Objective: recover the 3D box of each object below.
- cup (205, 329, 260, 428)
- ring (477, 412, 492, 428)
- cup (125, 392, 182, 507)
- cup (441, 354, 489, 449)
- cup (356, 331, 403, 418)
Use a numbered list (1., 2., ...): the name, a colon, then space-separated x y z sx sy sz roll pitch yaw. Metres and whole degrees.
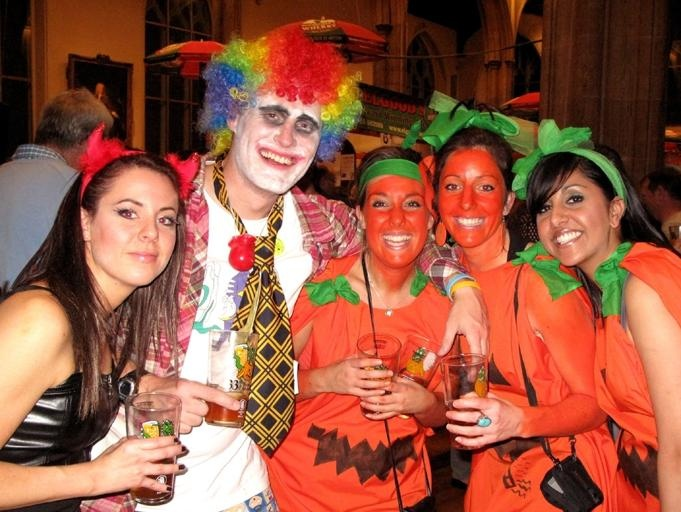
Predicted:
1. cup: -0.454 0.498 2.217 0.207 0.402 0.118 0 -3 -10
2. ring: 0.613 0.698 2.304 0.065 0.048 0.023 22 5 -18
3. cup: -0.704 0.735 2.033 0.192 0.453 0.191 0 -3 0
4. cup: 0.545 0.539 2.336 0.212 0.237 0.134 0 -3 -3
5. cup: 0.183 0.560 2.573 0.209 0.376 0.237 0 -3 2
